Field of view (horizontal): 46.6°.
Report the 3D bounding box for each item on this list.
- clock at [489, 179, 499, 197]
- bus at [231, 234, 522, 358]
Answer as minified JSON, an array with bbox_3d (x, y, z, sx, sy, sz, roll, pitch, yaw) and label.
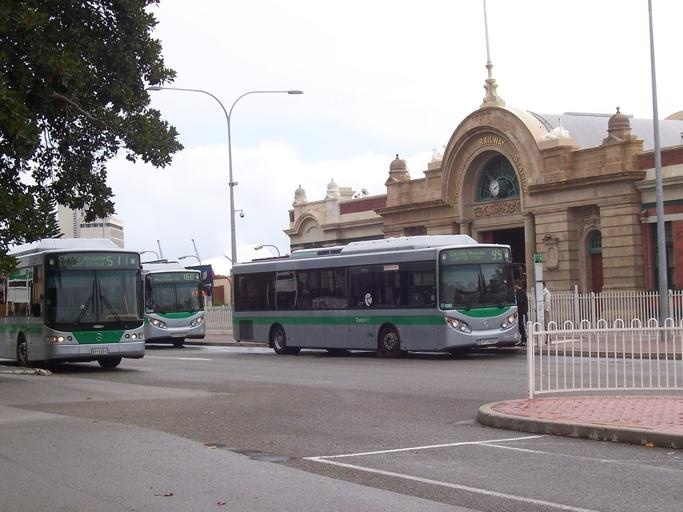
[{"bbox_3d":[8.059,-3.574,41.597,0.163,0.938,0.830,-1,-4,-18],"label":"clock"},{"bbox_3d":[0.273,1.420,27.931,3.673,4.255,12.397,1,-5,-39],"label":"bus"}]
